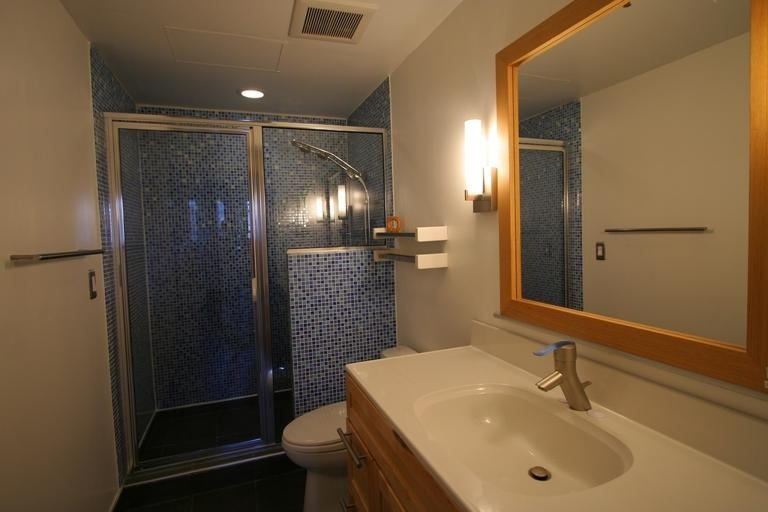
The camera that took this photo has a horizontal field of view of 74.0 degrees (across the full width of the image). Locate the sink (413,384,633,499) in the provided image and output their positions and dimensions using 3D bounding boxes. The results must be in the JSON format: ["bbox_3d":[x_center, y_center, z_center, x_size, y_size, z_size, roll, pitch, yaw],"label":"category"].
[{"bbox_3d":[0.531,0.727,1.989,0.748,0.271,0.377,6,9,41],"label":"sink"}]

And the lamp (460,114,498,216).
[{"bbox_3d":[0.475,-0.448,2.551,0.135,0.459,0.179,-2,7,-12],"label":"lamp"}]

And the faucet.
[{"bbox_3d":[0.721,0.488,2.047,0.307,0.320,0.097,-11,11,-27],"label":"faucet"}]
